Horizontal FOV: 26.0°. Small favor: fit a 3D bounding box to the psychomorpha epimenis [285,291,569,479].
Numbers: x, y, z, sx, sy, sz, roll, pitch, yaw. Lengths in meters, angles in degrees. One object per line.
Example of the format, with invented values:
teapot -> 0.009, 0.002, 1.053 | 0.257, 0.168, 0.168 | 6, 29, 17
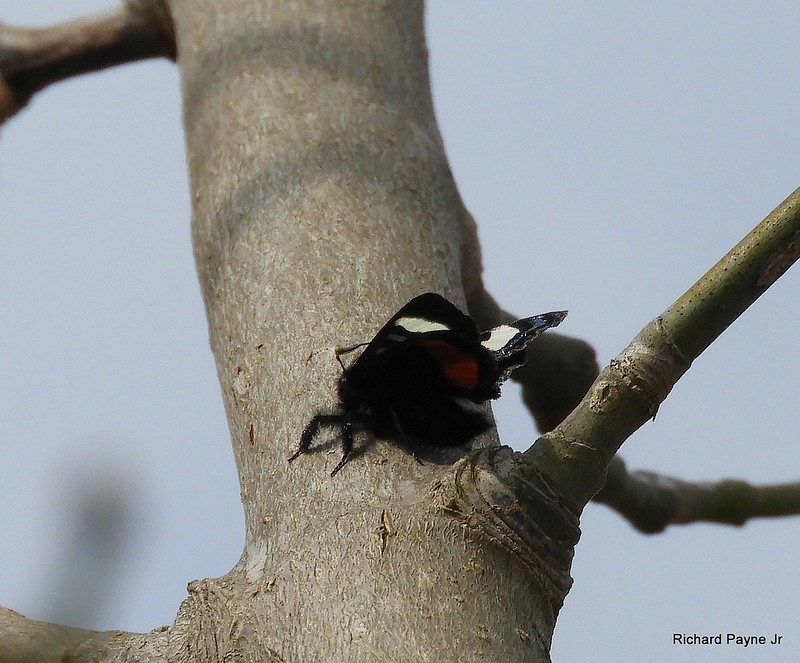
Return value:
psychomorpha epimenis -> 0.091, 0.119, 4.222 | 0.465, 0.916, 0.517 | -5, 97, 9
